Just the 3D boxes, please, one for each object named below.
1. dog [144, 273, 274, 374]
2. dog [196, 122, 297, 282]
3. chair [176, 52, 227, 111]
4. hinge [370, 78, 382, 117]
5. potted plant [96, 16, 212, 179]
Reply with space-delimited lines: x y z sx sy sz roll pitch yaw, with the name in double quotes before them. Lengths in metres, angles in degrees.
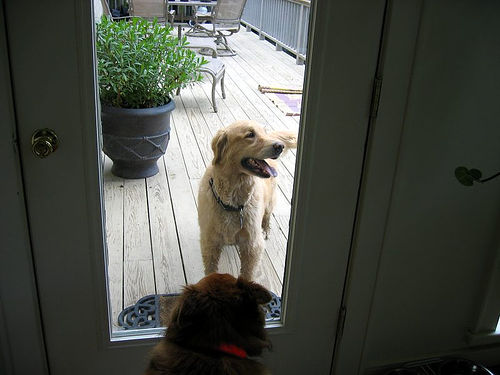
"dog" -0.088 0.354 0.894 0.266 0.198 0.172 9 30 4
"dog" -0.026 0.081 1.898 0.479 0.807 0.462 1 29 -9
"chair" -0.452 -0.969 3.408 0.473 0.444 0.625 12 29 -4
"hinge" 0.424 -0.304 1.219 0.026 0.123 0.031 1 29 -8
"potted plant" -0.785 -0.602 2.577 0.756 0.950 0.637 9 19 29
